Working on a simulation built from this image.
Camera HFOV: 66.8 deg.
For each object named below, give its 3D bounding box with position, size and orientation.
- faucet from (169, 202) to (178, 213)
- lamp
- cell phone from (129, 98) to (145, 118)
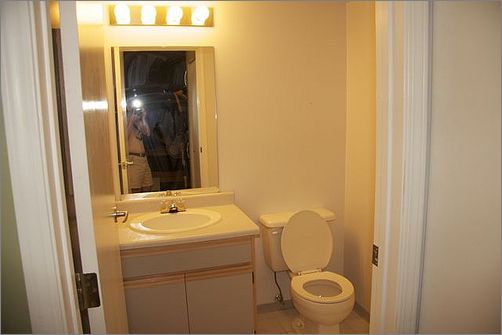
[{"bbox_3d":[-0.569,0.294,2.765,0.059,0.028,0.078,-1,11,-9],"label":"faucet"},{"bbox_3d":[-0.633,-1.089,2.717,0.752,0.170,0.100,-7,11,-10],"label":"lamp"},{"bbox_3d":[-0.826,-0.429,2.768,0.117,0.208,0.111,-2,24,-17],"label":"cell phone"}]
